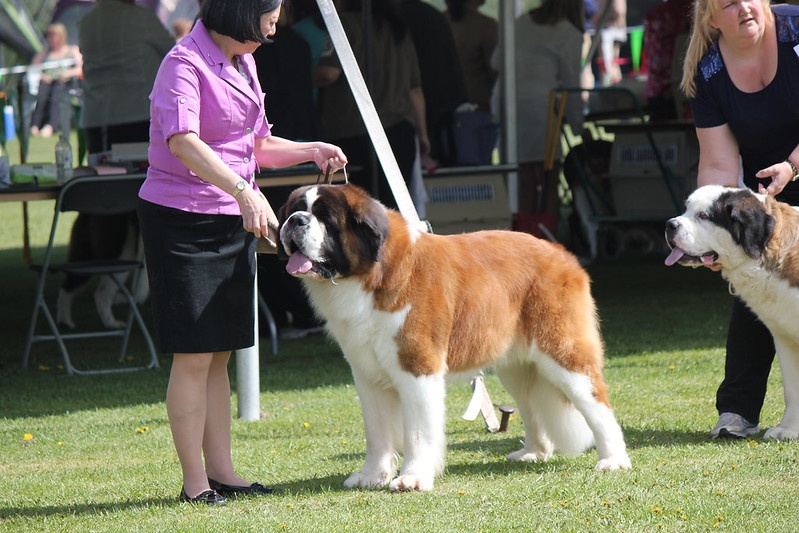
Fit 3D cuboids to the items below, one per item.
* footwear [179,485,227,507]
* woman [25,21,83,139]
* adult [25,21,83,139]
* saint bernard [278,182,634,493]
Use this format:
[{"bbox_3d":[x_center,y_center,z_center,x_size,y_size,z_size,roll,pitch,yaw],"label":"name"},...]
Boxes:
[{"bbox_3d":[-1.501,1.729,9.018,0.332,0.099,0.137,-2,-2,20],"label":"footwear"},{"bbox_3d":[-4.329,-2.364,14.778,0.637,1.559,0.571,4,-12,-1],"label":"woman"},{"bbox_3d":[-4.359,-2.347,14.850,0.647,1.417,0.779,-5,4,-18],"label":"adult"},{"bbox_3d":[0.419,0.551,9.625,2.863,2.415,1.322,-1,0,-28],"label":"saint bernard"}]
